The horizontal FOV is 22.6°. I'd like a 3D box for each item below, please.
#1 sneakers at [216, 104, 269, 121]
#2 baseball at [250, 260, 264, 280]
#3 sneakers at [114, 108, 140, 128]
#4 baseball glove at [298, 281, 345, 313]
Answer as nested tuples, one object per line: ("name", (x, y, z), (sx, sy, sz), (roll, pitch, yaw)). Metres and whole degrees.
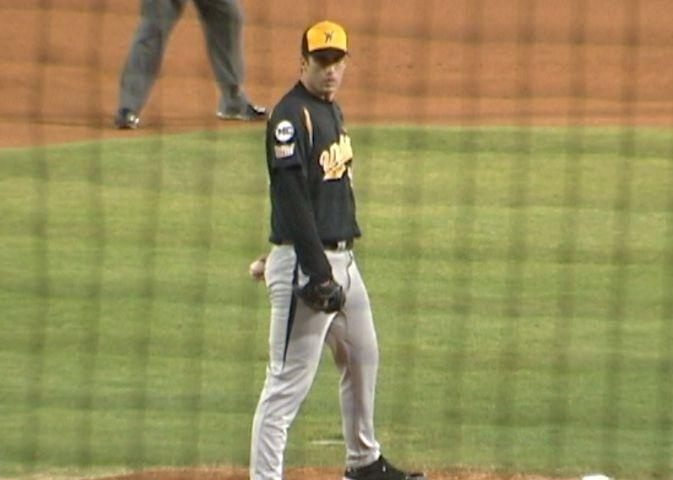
("sneakers", (-0.675, -0.932, 12.143), (0.355, 0.141, 0.170), (-4, -77, -8))
("baseball", (-0.531, 0.193, 11.226), (0.089, 0.059, 0.134), (10, -94, -29))
("sneakers", (-1.472, -0.870, 11.818), (0.089, 0.250, 0.095), (-3, -65, -13))
("baseball glove", (-0.097, 0.372, 10.997), (0.231, 0.192, 0.130), (19, -65, 13))
